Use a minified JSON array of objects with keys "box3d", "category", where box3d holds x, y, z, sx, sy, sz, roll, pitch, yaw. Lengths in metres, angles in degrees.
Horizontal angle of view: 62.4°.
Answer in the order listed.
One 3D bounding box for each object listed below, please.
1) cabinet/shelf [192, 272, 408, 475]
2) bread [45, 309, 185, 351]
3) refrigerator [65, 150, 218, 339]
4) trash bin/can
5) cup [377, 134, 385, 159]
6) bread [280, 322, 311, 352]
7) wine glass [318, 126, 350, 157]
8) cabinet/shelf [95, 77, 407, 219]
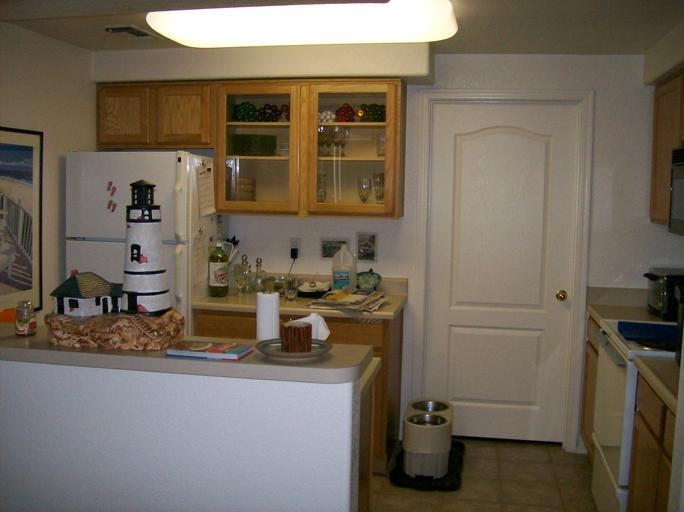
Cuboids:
[{"box3d":[-0.277,0.878,4.046,1.199,0.844,1.133,14,-2,2],"category":"cabinet/shelf"},{"box3d":[-0.926,0.313,2.306,0.341,0.103,0.231,0,3,1],"category":"bread"},{"box3d":[-1.380,-0.102,3.846,0.966,1.209,0.403,1,10,-1],"category":"refrigerator"},{"box3d":[0.576,1.208,3.794,0.288,0.301,0.467,1,6,8],"category":"trash bin/can"},{"box3d":[0.263,-0.741,3.805,0.057,0.160,0.031,4,10,13],"category":"cup"},{"box3d":[-0.179,0.324,2.261,0.123,0.115,0.151,1,10,-4],"category":"bread"},{"box3d":[-0.050,-0.786,3.933,0.202,0.191,0.204,2,4,7],"category":"wine glass"},{"box3d":[-0.632,-0.713,3.987,2.040,0.940,0.350,0,1,-4],"category":"cabinet/shelf"}]
